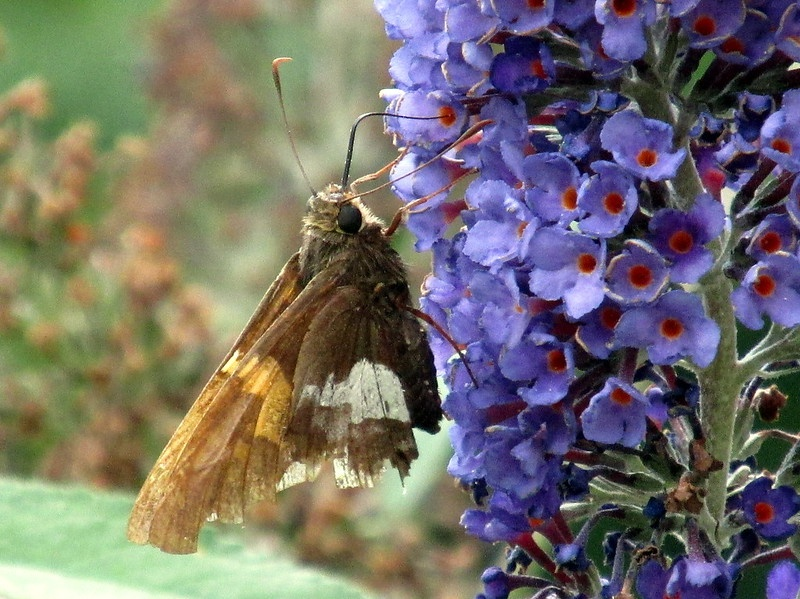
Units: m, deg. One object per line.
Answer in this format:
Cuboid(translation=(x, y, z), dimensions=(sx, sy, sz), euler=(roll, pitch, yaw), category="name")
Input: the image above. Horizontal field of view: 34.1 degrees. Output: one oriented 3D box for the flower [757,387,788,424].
Cuboid(translation=(1.378, 0.382, 4.842), dimensions=(0.105, 0.138, 0.055), euler=(9, 6, 3), category="flower")
